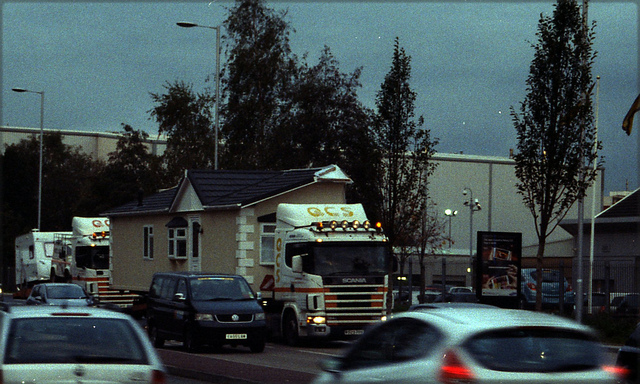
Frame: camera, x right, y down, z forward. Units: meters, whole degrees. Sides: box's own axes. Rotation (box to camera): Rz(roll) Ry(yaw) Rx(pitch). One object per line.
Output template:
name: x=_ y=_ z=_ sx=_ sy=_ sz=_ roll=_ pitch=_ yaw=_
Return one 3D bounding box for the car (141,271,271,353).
car: x=-5.081 y=5.073 z=43.638 sx=3.530 sy=3.198 sz=7.061 roll=2 pitch=-5 yaw=-28
